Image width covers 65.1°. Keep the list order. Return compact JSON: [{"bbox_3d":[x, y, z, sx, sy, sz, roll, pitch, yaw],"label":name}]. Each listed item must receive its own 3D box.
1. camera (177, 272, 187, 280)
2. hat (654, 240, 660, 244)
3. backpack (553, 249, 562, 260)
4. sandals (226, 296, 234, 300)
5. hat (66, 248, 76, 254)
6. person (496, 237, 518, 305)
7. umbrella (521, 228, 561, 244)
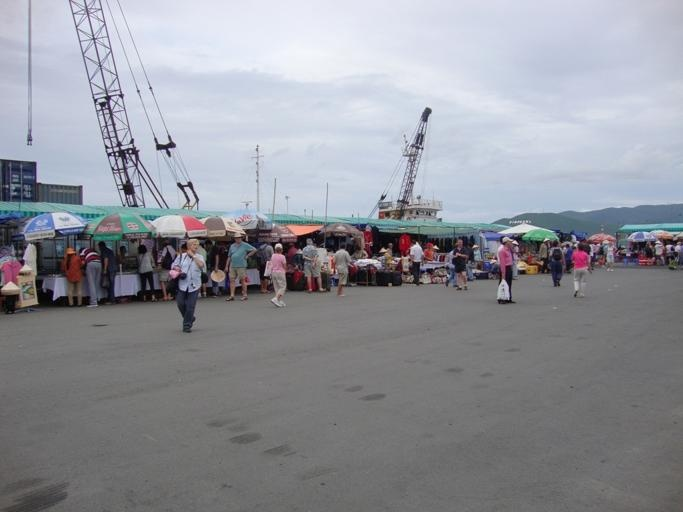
[{"bbox_3d":[-3.496,0.408,11.740,0.149,0.166,0.058,4,-12,-1],"label":"camera"},{"bbox_3d":[27.426,-1.383,46.474,0.336,0.164,0.483,-1,-3,11],"label":"hat"},{"bbox_3d":[9.634,-0.168,23.918,0.337,0.519,0.505,0,-8,21],"label":"backpack"},{"bbox_3d":[-3.952,1.455,19.024,0.322,0.149,0.121,2,-1,16],"label":"sandals"},{"bbox_3d":[-8.653,-0.214,17.192,0.277,0.160,0.297,-1,1,37],"label":"hat"},{"bbox_3d":[5.192,0.368,16.990,0.479,1.393,1.615,-1,1,16],"label":"person"},{"bbox_3d":[12.855,-1.456,34.874,1.814,0.783,1.817,-1,2,-27],"label":"umbrella"}]
